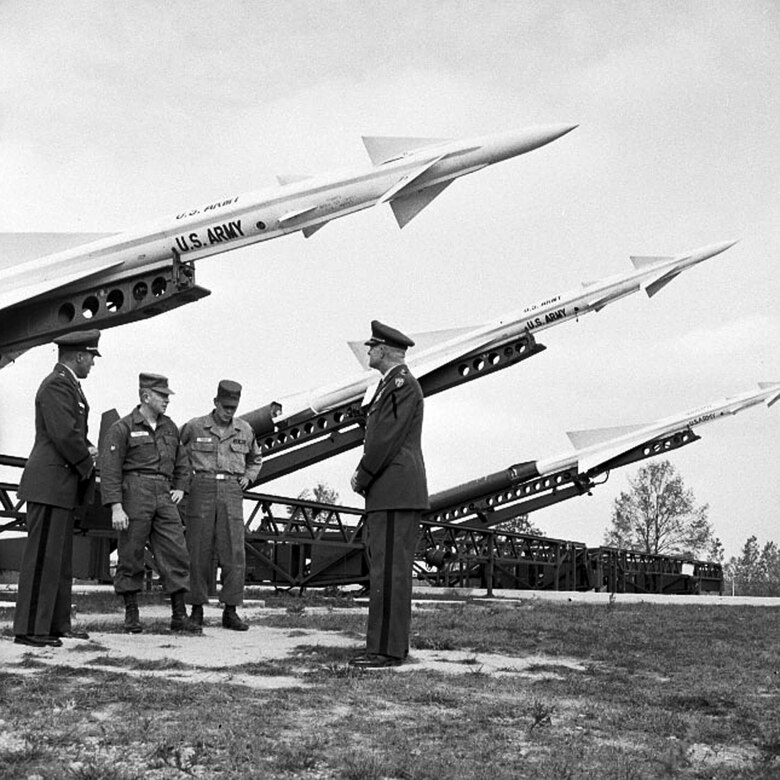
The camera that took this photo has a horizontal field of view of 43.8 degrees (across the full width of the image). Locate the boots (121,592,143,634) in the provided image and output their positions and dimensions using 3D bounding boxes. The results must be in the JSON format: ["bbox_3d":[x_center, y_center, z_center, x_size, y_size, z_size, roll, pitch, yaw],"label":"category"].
[{"bbox_3d":[-1.931,1.654,7.294,0.130,0.286,0.441,3,-12,-15],"label":"boots"}]

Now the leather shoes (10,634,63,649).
[{"bbox_3d":[-2.226,1.580,6.168,0.322,0.146,0.114,-3,-14,6],"label":"leather shoes"}]

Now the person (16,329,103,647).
[{"bbox_3d":[-2.207,0.592,6.523,0.491,2.137,0.527,7,-12,-30],"label":"person"}]

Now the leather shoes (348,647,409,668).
[{"bbox_3d":[-0.058,1.597,5.723,0.326,0.142,0.115,14,-23,-12],"label":"leather shoes"}]

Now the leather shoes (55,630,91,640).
[{"bbox_3d":[-2.138,1.639,6.559,0.216,0.101,0.076,-1,-7,-8],"label":"leather shoes"}]

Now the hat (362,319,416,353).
[{"bbox_3d":[0.035,-0.342,6.339,0.374,0.170,0.334,9,6,34],"label":"hat"}]

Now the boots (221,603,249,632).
[{"bbox_3d":[-1.230,1.870,7.961,0.113,0.232,0.319,9,-22,-32],"label":"boots"}]

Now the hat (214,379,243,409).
[{"bbox_3d":[-1.228,0.031,7.404,0.146,0.191,0.197,16,3,-4],"label":"hat"}]

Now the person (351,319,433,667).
[{"bbox_3d":[-0.030,0.601,6.172,0.465,2.161,0.699,-4,-12,23],"label":"person"}]

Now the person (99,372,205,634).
[{"bbox_3d":[-1.847,0.853,7.514,0.773,1.943,0.444,4,-11,-19],"label":"person"}]
